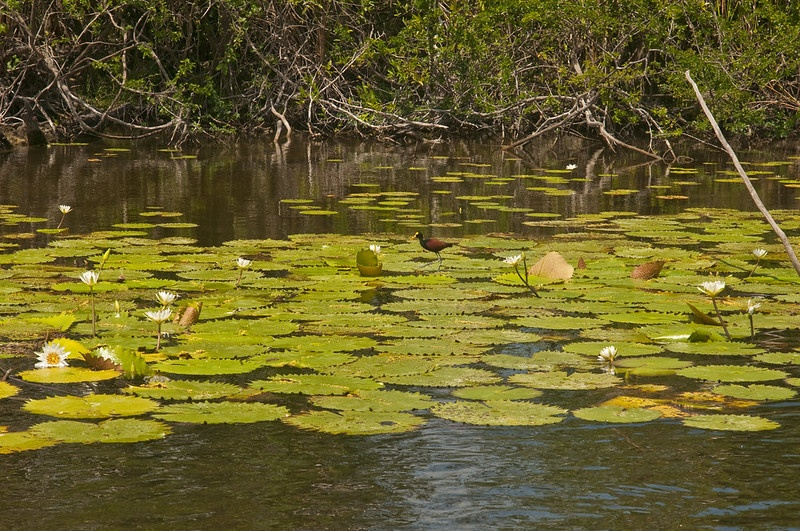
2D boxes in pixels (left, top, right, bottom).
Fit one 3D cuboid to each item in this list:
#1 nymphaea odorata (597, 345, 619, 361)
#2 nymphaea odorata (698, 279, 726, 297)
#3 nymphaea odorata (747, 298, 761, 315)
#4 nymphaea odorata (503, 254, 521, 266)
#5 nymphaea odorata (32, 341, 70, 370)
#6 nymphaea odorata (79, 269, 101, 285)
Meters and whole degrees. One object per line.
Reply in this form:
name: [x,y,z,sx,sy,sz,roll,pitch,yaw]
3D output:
nymphaea odorata: [1.070,0.460,6.047,0.102,0.104,0.215,4,13,10]
nymphaea odorata: [1.707,0.128,6.377,0.187,0.070,0.172,1,-1,32]
nymphaea odorata: [2.012,0.244,6.631,0.083,0.039,0.085,-17,31,-1]
nymphaea odorata: [0.666,-0.041,7.071,0.119,0.030,0.094,-1,-11,-15]
nymphaea odorata: [-1.808,0.448,5.892,0.172,0.130,0.217,-3,14,-15]
nymphaea odorata: [-1.829,0.075,6.688,0.132,0.059,0.104,-6,-11,-2]
